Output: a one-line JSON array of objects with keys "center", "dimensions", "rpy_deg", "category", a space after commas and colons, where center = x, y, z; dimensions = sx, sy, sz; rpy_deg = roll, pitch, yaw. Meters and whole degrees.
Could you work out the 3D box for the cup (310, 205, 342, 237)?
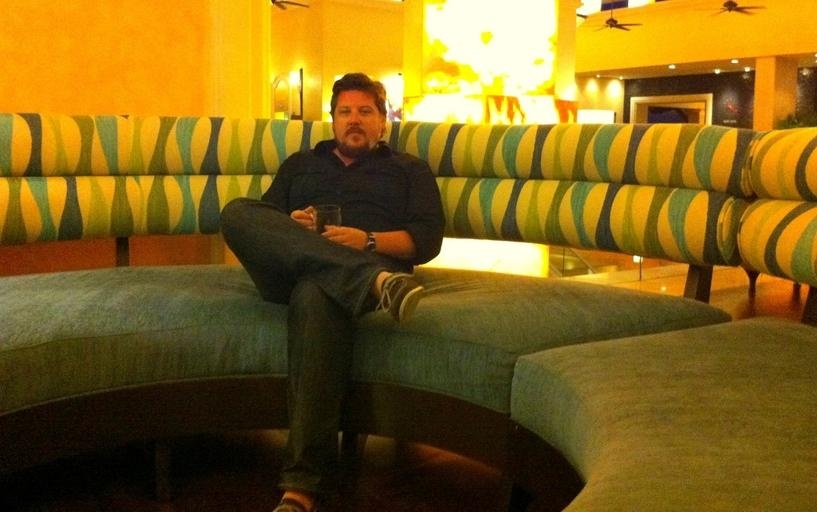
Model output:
[{"center": [-0.311, -0.148, 2.415], "dimensions": [0.115, 0.103, 0.088], "rpy_deg": [5, 9, 42], "category": "cup"}]
